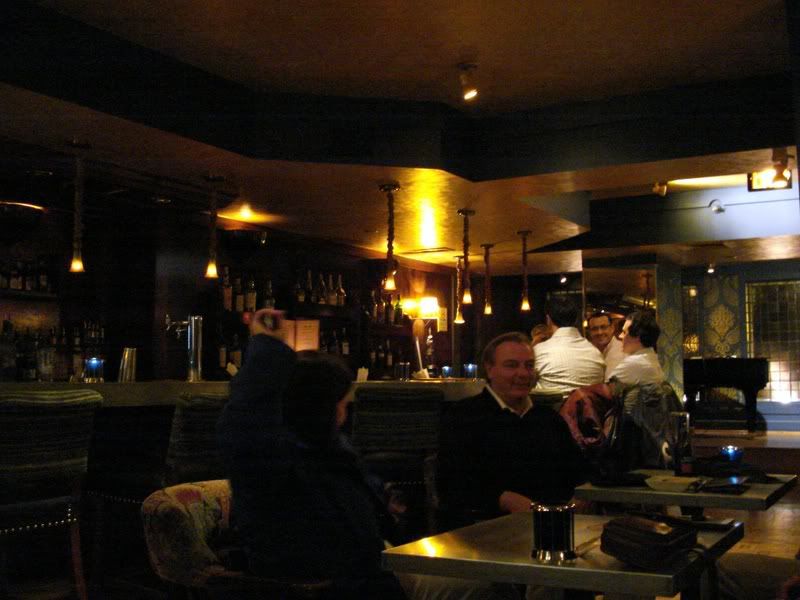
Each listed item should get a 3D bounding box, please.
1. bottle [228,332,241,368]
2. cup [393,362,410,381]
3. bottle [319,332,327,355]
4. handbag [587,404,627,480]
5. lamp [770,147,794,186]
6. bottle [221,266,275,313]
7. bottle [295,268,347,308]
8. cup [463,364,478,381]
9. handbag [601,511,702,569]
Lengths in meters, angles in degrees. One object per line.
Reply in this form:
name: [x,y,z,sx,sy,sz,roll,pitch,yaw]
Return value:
bottle: [-0.261,0.080,1.373,0.016,0.054,0.043,0,-1,2]
cup: [0.006,0.118,1.430,0.035,0.031,0.022,-6,-10,27]
bottle: [-0.119,0.068,1.375,0.014,0.030,0.021,1,-1,-8]
handbag: [0.366,0.264,1.514,0.056,0.105,0.165,-5,-14,26]
lamp: [0.612,-0.210,1.380,0.029,0.052,0.103,0,-2,24]
bottle: [-0.231,-0.015,1.329,0.081,0.066,0.038,1,-1,-14]
bottle: [-0.119,-0.019,1.348,0.069,0.058,0.051,1,-2,-27]
cup: [0.118,0.122,1.415,0.026,0.025,0.024,-1,0,0]
handbag: [0.387,0.358,1.325,0.103,0.040,0.087,-4,4,-44]
